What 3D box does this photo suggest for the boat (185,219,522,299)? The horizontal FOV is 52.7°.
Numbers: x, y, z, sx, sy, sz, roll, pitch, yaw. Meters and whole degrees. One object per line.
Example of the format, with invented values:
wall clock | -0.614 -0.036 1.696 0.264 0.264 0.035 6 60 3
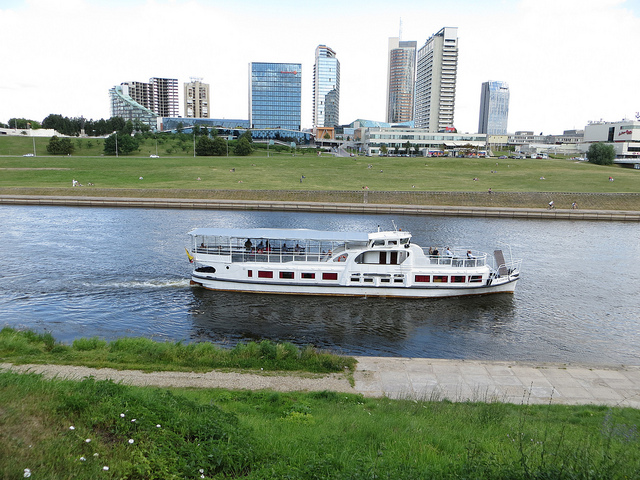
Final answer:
boat | 1.969 1.982 58.675 27.319 6.049 3.048 3 12 2
